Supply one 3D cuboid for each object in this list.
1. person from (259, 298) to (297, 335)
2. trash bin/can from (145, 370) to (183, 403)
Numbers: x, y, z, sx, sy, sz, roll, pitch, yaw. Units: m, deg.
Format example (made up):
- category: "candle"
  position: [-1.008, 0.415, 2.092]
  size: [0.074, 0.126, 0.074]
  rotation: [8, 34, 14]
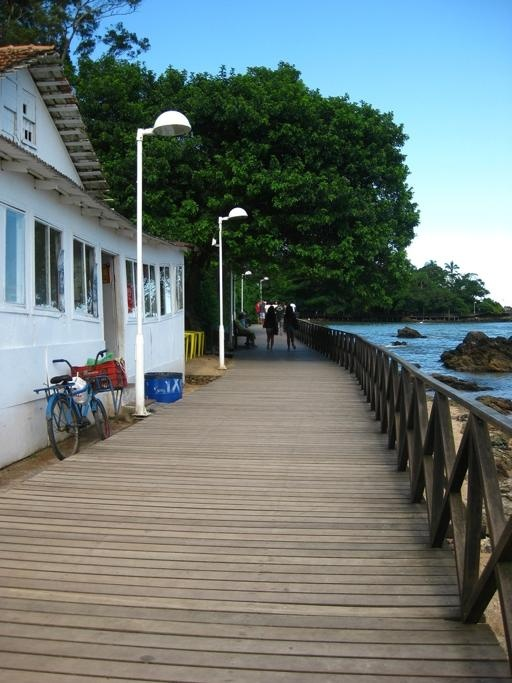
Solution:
- category: "person"
  position: [0.795, -0.760, 21.463]
  size: [0.834, 1.021, 1.804]
  rotation: [-1, -3, 0]
- category: "trash bin/can"
  position: [-1.533, 0.743, 10.546]
  size: [0.485, 0.365, 0.505]
  rotation: [0, -4, -2]
